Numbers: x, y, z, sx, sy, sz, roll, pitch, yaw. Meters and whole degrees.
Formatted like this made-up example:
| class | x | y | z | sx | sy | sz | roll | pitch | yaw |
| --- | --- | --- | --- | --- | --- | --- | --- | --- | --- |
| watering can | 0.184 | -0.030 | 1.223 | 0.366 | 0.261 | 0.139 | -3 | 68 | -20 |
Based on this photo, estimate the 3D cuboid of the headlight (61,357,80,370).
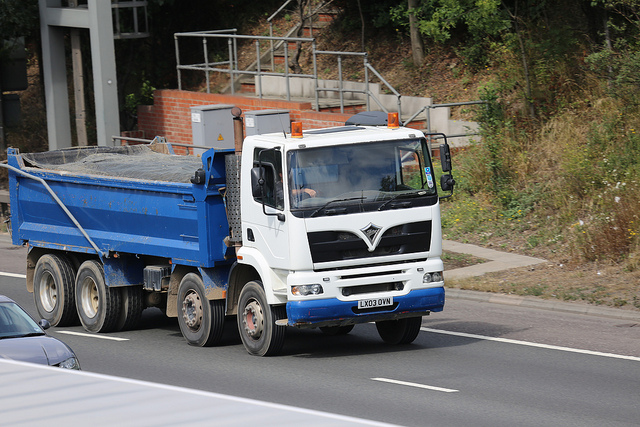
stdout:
| class | x | y | z | sx | sy | sz | roll | pitch | yaw |
| --- | --- | --- | --- | --- | --- | --- | --- | --- | --- |
| headlight | -3.779 | 2.270 | 13.865 | 0.244 | 0.115 | 0.321 | 2 | 0 | 4 |

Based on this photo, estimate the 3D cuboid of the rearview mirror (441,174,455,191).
| class | x | y | z | sx | sy | sz | roll | pitch | yaw |
| --- | --- | --- | --- | --- | --- | --- | --- | --- | --- |
| rearview mirror | 2.162 | -0.510 | 15.663 | 0.202 | 0.279 | 0.342 | 1 | 7 | 7 |

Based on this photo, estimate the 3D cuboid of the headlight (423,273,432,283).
| class | x | y | z | sx | sy | sz | roll | pitch | yaw |
| --- | --- | --- | --- | --- | --- | --- | --- | --- | --- |
| headlight | 1.803 | 1.092 | 15.443 | 0.154 | 0.136 | 0.147 | -2 | 2 | -29 |

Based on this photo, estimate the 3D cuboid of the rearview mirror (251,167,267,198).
| class | x | y | z | sx | sy | sz | roll | pitch | yaw |
| --- | --- | --- | --- | --- | --- | --- | --- | --- | --- |
| rearview mirror | -1.039 | -0.504 | 15.258 | 0.194 | 0.517 | 0.328 | -4 | 8 | -32 |

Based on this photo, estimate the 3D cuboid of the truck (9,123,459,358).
| class | x | y | z | sx | sy | sz | roll | pitch | yaw |
| --- | --- | --- | --- | --- | --- | --- | --- | --- | --- |
| truck | -1.782 | 0.218 | 18.316 | 9.464 | 4.088 | 5.819 | 3 | 7 | 20 |

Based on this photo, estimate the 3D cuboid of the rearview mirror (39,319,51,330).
| class | x | y | z | sx | sy | sz | roll | pitch | yaw |
| --- | --- | --- | --- | --- | --- | --- | --- | --- | --- |
| rearview mirror | -4.385 | 1.763 | 14.582 | 0.193 | 0.164 | 0.089 | 13 | -22 | -30 |

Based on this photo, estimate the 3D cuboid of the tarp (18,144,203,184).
| class | x | y | z | sx | sy | sz | roll | pitch | yaw |
| --- | --- | --- | --- | --- | --- | --- | --- | --- | --- |
| tarp | -4.135 | -1.077 | 18.834 | 2.483 | 0.505 | 4.464 | -5 | 8 | -42 |

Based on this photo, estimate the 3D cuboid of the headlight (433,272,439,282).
| class | x | y | z | sx | sy | sz | roll | pitch | yaw |
| --- | --- | --- | --- | --- | --- | --- | --- | --- | --- |
| headlight | 1.954 | 1.075 | 15.515 | 0.118 | 0.146 | 0.035 | -4 | 9 | -35 |

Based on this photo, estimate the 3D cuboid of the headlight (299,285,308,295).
| class | x | y | z | sx | sy | sz | roll | pitch | yaw |
| --- | --- | --- | --- | --- | --- | --- | --- | --- | --- |
| headlight | -0.275 | 1.261 | 14.932 | 0.144 | 0.152 | 0.153 | -1 | -1 | 45 |
